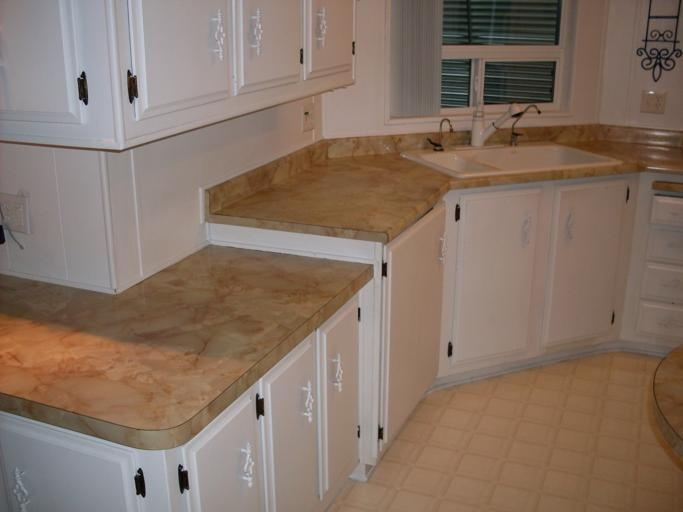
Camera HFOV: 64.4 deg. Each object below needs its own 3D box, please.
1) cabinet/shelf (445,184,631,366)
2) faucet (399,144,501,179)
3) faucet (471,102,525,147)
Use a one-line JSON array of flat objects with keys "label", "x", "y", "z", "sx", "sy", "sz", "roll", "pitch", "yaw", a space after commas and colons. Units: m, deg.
[{"label": "cabinet/shelf", "x": 1.045, "y": 0.074, "z": 2.973, "sx": 0.840, "sy": 0.748, "sz": 0.299, "roll": -12, "pitch": 20, "yaw": -25}, {"label": "faucet", "x": 0.621, "y": -0.553, "z": 3.182, "sx": 0.275, "sy": 0.133, "sz": 0.399, "roll": -8, "pitch": 14, "yaw": -12}, {"label": "faucet", "x": 0.975, "y": -0.832, "z": 3.398, "sx": 0.300, "sy": 0.263, "sz": 0.392, "roll": 8, "pitch": 22, "yaw": 22}]
